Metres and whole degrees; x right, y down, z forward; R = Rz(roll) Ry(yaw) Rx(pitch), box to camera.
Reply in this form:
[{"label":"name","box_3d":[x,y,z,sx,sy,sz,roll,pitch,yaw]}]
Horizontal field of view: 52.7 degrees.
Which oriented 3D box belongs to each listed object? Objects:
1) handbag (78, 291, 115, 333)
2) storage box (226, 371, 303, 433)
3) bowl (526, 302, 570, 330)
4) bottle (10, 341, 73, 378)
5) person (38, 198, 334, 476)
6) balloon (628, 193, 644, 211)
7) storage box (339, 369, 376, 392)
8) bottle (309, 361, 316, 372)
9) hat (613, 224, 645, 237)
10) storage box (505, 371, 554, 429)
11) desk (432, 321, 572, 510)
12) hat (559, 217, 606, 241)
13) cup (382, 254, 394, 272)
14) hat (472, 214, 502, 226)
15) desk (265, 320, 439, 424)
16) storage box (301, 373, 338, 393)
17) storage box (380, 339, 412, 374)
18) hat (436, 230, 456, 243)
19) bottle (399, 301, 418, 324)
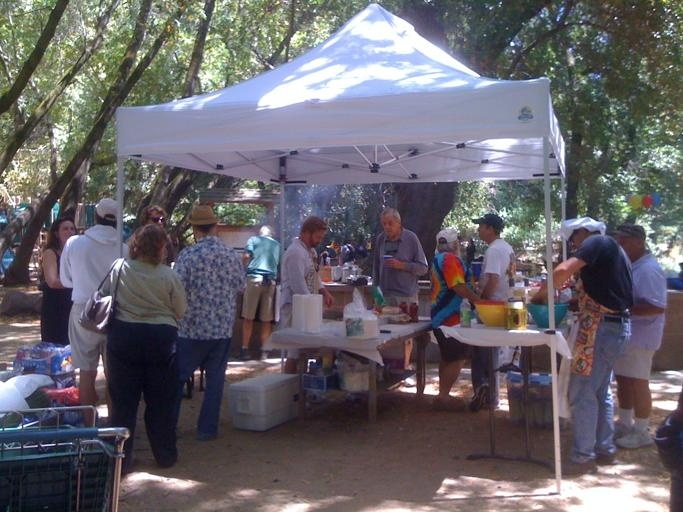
[{"label":"handbag","box_3d":[-2.272,0.546,6.413,0.293,0.339,0.181,24,-14,-16]},{"label":"storage box","box_3d":[-0.896,1.724,8.146,0.480,0.510,0.818,-1,-1,27]},{"label":"bowl","box_3d":[1.983,0.607,6.686,0.269,0.171,0.278,1,-7,0]},{"label":"bottle","box_3d":[-3.129,1.037,7.228,0.508,0.230,0.412,2,-1,22]},{"label":"person","box_3d":[-1.873,0.805,6.962,1.017,2.571,1.534,2,6,24]},{"label":"balloon","box_3d":[6.892,-1.249,16.180,0.374,0.418,0.400,-3,0,24]},{"label":"storage box","box_3d":[0.161,1.497,8.111,0.271,0.165,0.270,3,-2,-36]},{"label":"bottle","box_3d":[-0.358,1.373,8.517,0.091,0.107,0.090,3,-3,-38]},{"label":"hat","box_3d":[3.206,-0.267,7.649,0.237,0.092,0.170,3,0,-3]},{"label":"storage box","box_3d":[2.198,1.739,8.121,0.576,0.584,0.447,3,-13,4]},{"label":"desk","box_3d":[1.708,1.739,7.178,1.248,1.558,2.037,-1,-4,18]},{"label":"hat","box_3d":[2.491,-0.298,7.171,0.316,0.133,0.285,-3,-3,17]},{"label":"cup","box_3d":[0.593,0.088,8.941,0.121,0.142,0.155,2,-13,3]},{"label":"hat","box_3d":[1.734,-0.419,8.144,0.240,0.094,0.157,3,2,13]},{"label":"desk","box_3d":[0.054,1.018,7.946,1.187,0.809,1.586,0,1,27]},{"label":"storage box","box_3d":[-0.254,1.461,8.151,0.263,0.133,0.270,0,1,24]},{"label":"storage box","box_3d":[0.733,1.406,9.387,0.594,0.448,0.613,1,8,3]},{"label":"hat","box_3d":[1.253,-0.240,8.153,0.203,0.158,0.336,4,4,24]},{"label":"bottle","box_3d":[0.805,0.699,8.539,0.204,0.238,0.209,2,1,31]}]
